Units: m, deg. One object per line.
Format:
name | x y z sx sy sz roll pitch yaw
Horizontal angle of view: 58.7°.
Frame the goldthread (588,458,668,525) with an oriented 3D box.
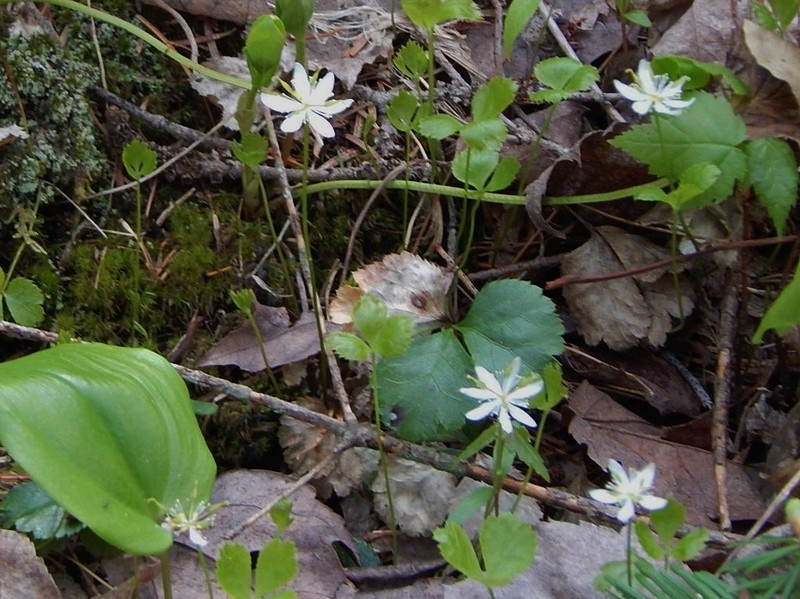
goldthread | 0.587 0.509 1.881 0.190 0.112 0.148 -9 56 -11
